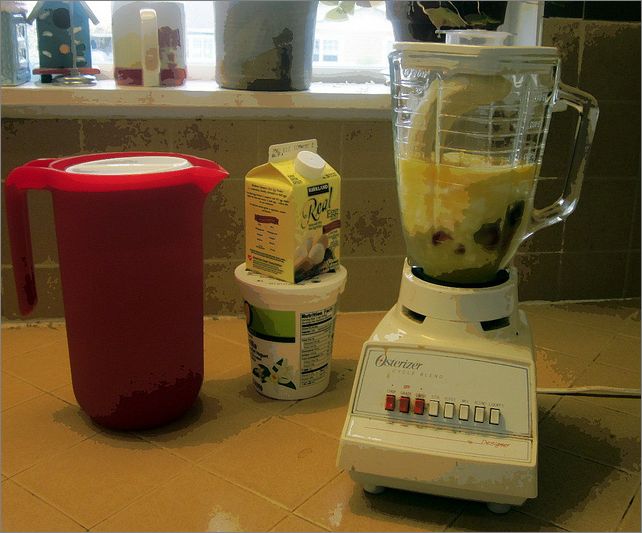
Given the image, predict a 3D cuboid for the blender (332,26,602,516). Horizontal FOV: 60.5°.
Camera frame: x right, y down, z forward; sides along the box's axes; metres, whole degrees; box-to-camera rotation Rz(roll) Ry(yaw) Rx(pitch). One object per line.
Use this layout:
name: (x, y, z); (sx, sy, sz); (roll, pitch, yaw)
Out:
blender: (0.218, -0.005, 0.857); (0.315, 0.681, 0.450); (9, 22, 24)
